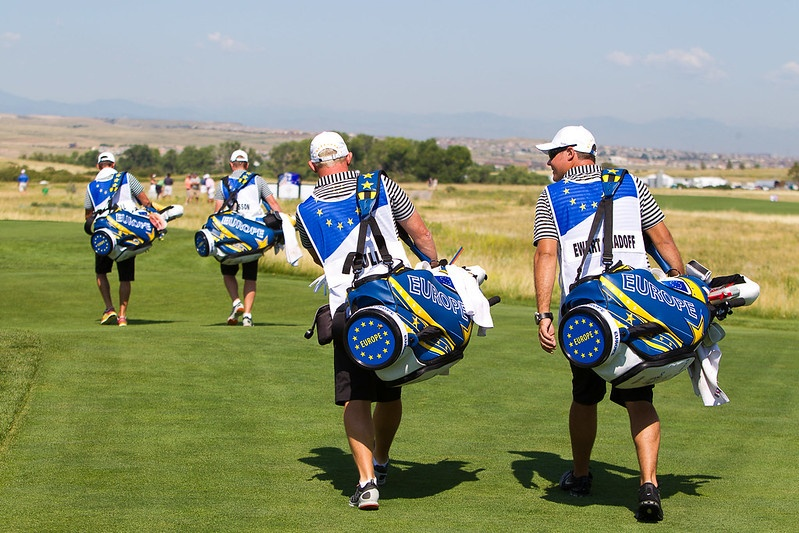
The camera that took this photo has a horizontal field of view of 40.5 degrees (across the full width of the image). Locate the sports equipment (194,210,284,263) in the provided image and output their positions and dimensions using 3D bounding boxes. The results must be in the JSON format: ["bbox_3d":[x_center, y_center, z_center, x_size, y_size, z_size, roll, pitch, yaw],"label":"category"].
[{"bbox_3d":[-2.427,-0.445,16.129,1.214,0.548,0.923,-13,2,-3],"label":"sports equipment"}]

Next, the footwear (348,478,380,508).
[{"bbox_3d":[-0.314,1.980,9.484,0.259,0.274,0.221,3,12,-1],"label":"footwear"}]

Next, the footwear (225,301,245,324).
[{"bbox_3d":[-2.512,0.744,16.554,0.190,0.470,0.216,-2,47,-25],"label":"footwear"}]

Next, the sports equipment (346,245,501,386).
[{"bbox_3d":[0.257,0.468,9.745,0.969,0.644,1.358,-10,2,32],"label":"sports equipment"}]

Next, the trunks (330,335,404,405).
[{"bbox_3d":[-0.286,0.892,9.502,0.696,0.575,0.381,1,-10,-43],"label":"trunks"}]

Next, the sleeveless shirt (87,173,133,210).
[{"bbox_3d":[-4.392,-1.128,16.392,0.548,0.825,0.948,1,-3,-20],"label":"sleeveless shirt"}]

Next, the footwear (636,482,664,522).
[{"bbox_3d":[2.163,2.029,9.355,0.236,0.318,0.204,6,13,12],"label":"footwear"}]

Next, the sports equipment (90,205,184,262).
[{"bbox_3d":[-4.092,-0.531,16.549,0.612,0.710,1.599,-25,3,38],"label":"sports equipment"}]

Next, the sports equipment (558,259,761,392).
[{"bbox_3d":[2.265,0.413,9.574,1.599,0.755,1.066,-12,41,-32],"label":"sports equipment"}]
